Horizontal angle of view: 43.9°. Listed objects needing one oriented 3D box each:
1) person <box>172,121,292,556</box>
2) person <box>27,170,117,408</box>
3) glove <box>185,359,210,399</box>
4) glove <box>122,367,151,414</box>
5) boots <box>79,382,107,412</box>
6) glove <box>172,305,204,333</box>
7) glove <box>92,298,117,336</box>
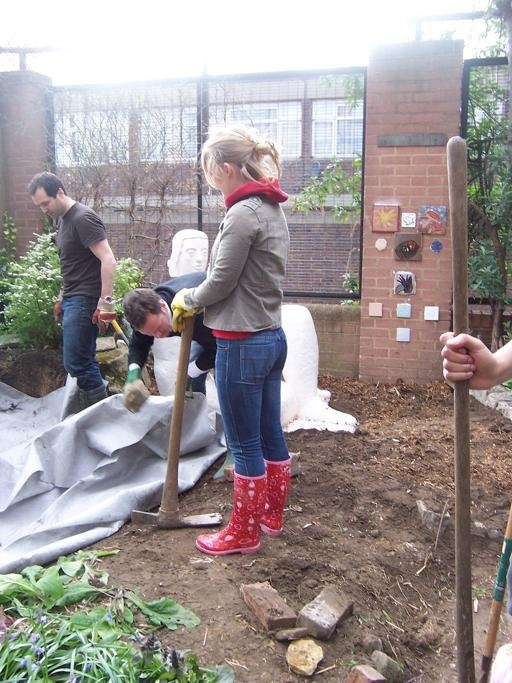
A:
[{"bbox_3d":[-0.061,0.032,2.453,0.483,1.646,0.410,3,12,-3],"label":"person"},{"bbox_3d":[-1.166,-0.308,4.204,0.689,1.553,0.370,14,15,40],"label":"person"},{"bbox_3d":[-0.338,0.216,3.582,0.072,0.181,0.145,1,10,-35],"label":"glove"},{"bbox_3d":[-0.596,0.243,3.186,0.153,0.207,0.088,-3,5,20],"label":"glove"},{"bbox_3d":[-1.103,0.374,4.333,0.234,0.163,0.193,-17,-10,40],"label":"boots"},{"bbox_3d":[-0.286,-0.098,2.621,0.106,0.055,0.127,-10,-32,-27],"label":"glove"},{"bbox_3d":[-1.002,-0.164,4.170,0.123,0.247,0.261,-1,12,-24],"label":"glove"}]
